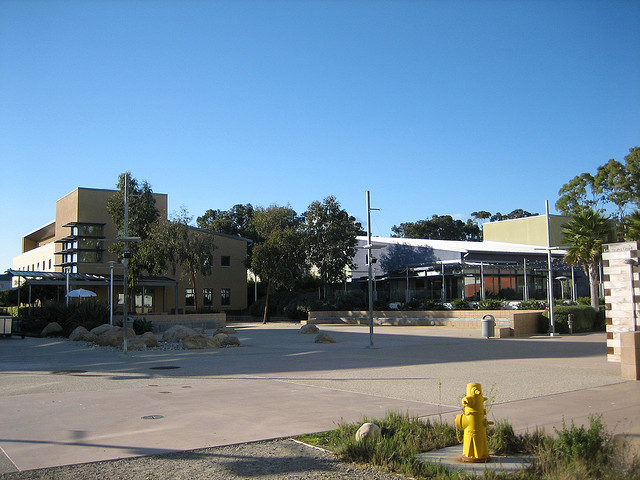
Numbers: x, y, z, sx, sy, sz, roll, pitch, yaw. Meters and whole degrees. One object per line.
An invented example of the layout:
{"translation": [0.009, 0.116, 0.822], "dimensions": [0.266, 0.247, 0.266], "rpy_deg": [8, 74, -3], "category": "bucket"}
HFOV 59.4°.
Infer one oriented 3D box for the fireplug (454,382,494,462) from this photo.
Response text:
{"translation": [2.093, 2.557, 7.772], "dimensions": [0.432, 1.092, 0.481], "rpy_deg": [-2, -7, 16], "category": "fireplug"}
